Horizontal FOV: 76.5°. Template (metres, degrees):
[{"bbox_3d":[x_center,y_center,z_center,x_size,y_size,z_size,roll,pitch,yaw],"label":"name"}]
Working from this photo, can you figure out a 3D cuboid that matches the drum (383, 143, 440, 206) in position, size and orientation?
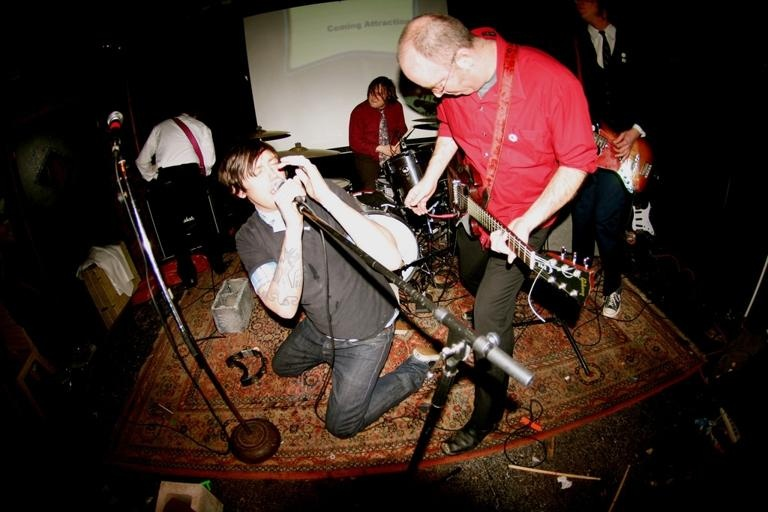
[{"bbox_3d":[0.250,-0.969,5.928,0.651,0.652,0.643,-25,8,-26],"label":"drum"}]

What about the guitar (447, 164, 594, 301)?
[{"bbox_3d":[1.045,-0.314,4.390,0.216,0.591,1.996,-23,34,-7],"label":"guitar"}]

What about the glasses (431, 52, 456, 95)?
[{"bbox_3d":[0.461,-1.463,3.959,0.065,0.234,0.217,8,-3,-9],"label":"glasses"}]

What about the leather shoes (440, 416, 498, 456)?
[{"bbox_3d":[0.735,1.673,4.575,0.637,0.259,0.223,-32,43,17],"label":"leather shoes"}]

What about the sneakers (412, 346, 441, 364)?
[{"bbox_3d":[0.403,0.952,4.735,0.289,0.120,0.232,11,0,-3],"label":"sneakers"}]

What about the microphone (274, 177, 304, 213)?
[{"bbox_3d":[-0.722,-0.445,3.723,0.233,0.244,0.360,-8,22,-9],"label":"microphone"}]

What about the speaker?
[{"bbox_3d":[-2.542,-0.462,6.029,0.597,1.153,0.612,-16,13,1],"label":"speaker"}]

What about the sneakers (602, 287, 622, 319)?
[{"bbox_3d":[2.475,0.526,5.287,0.133,0.150,0.386,1,63,32],"label":"sneakers"}]

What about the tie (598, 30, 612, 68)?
[{"bbox_3d":[2.336,-2.190,5.162,0.103,0.397,0.057,-8,0,40],"label":"tie"}]
